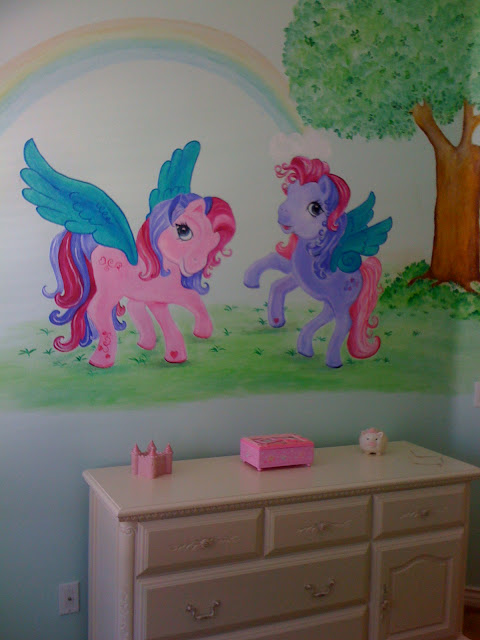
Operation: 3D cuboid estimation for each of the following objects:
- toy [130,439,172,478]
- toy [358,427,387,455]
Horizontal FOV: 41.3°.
[{"bbox_3d":[-0.304,0.497,2.258,0.145,0.116,0.140,3,6,37],"label":"toy"},{"bbox_3d":[0.527,0.485,2.522,0.103,0.082,0.109,1,-10,2],"label":"toy"}]
